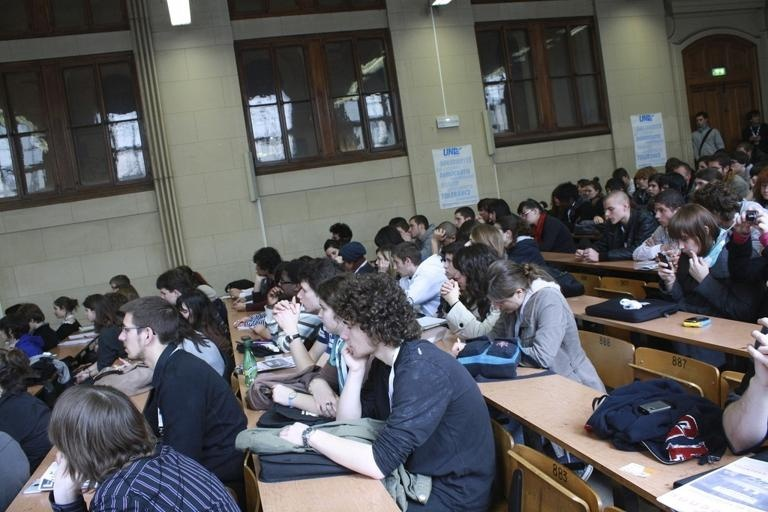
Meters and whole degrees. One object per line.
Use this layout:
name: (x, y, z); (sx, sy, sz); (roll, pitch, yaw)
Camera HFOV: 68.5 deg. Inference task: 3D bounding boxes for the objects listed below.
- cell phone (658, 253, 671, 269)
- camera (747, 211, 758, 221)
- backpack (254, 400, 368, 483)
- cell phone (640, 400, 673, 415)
cell phone: (2.385, 0.044, 4.825); (0.031, 0.120, 0.082); (-12, -4, -35)
camera: (2.593, -0.281, 3.995); (0.067, 0.066, 0.064); (1, 0, 12)
backpack: (-0.480, 1.007, 3.093); (0.454, 0.209, 0.622); (-11, 6, -17)
cell phone: (1.373, 0.769, 2.869); (0.095, 0.023, 0.072); (-8, 15, -5)
